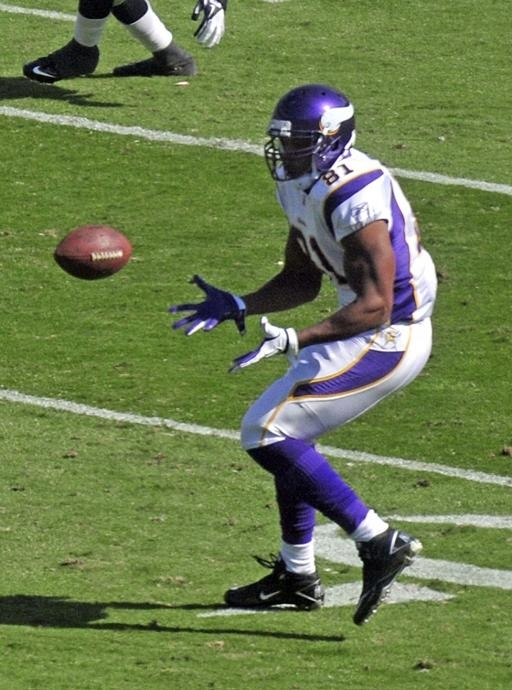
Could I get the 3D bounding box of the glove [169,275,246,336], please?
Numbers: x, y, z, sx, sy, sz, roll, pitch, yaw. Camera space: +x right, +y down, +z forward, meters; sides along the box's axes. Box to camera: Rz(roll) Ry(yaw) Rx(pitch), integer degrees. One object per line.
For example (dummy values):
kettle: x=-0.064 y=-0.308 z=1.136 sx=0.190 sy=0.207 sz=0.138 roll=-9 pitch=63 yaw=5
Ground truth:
glove: x=-0.264 y=-0.205 z=8.452 sx=0.435 sy=0.257 sz=0.146 roll=-22 pitch=-4 yaw=-28

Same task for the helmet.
helmet: x=0.259 y=-0.981 z=7.156 sx=0.503 sy=0.377 sz=0.367 roll=-12 pitch=20 yaw=-28

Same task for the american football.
american football: x=-0.830 y=-0.467 z=7.742 sx=0.449 sy=0.222 sz=0.313 roll=-6 pitch=12 yaw=-31
